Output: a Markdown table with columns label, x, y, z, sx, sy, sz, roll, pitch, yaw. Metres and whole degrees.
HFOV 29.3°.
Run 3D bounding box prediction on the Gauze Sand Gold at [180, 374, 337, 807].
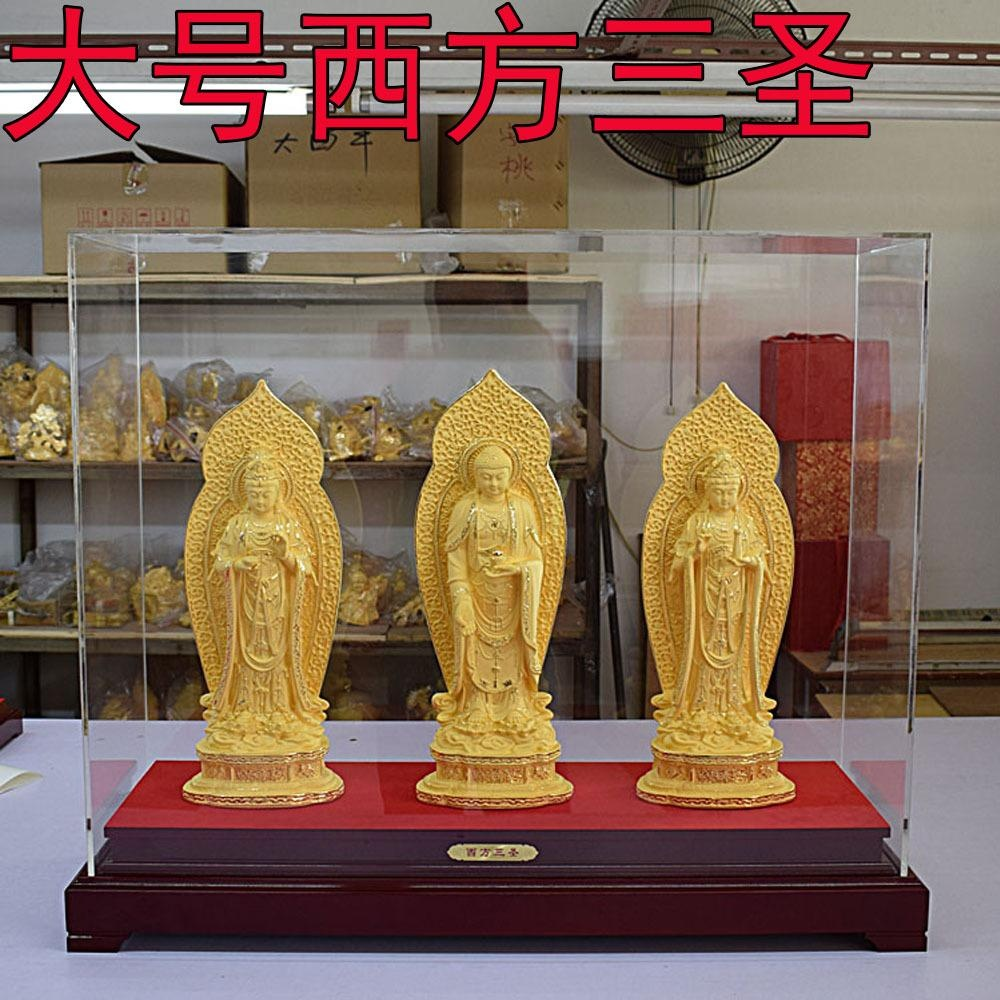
| label | x | y | z | sx | sy | sz | roll | pitch | yaw |
| --- | --- | --- | --- | --- | --- | --- | --- | --- | --- |
| Gauze Sand Gold | -0.468 | 0.190 | 3.771 | 0.308 | 0.825 | 0.145 | -1 | 4 | -9 |

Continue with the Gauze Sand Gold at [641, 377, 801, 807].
| label | x | y | z | sx | sy | sz | roll | pitch | yaw |
| --- | --- | --- | --- | --- | --- | --- | --- | --- | --- |
| Gauze Sand Gold | 0.429 | 0.189 | 3.782 | 0.308 | 0.826 | 0.151 | 0 | 4 | 2 |

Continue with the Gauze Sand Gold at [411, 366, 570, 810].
| label | x | y | z | sx | sy | sz | roll | pitch | yaw |
| --- | --- | --- | --- | --- | --- | --- | --- | --- | --- |
| Gauze Sand Gold | -0.013 | 0.174 | 3.780 | 0.307 | 0.849 | 0.184 | 0 | 4 | -2 |

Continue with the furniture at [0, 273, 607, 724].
| label | x | y | z | sx | sy | sz | roll | pitch | yaw |
| --- | --- | --- | --- | --- | --- | --- | --- | --- | --- |
| furniture | -0.339 | -0.001 | 3.845 | 1.293 | 1.026 | 0.429 | -1 | -1 | -5 |
